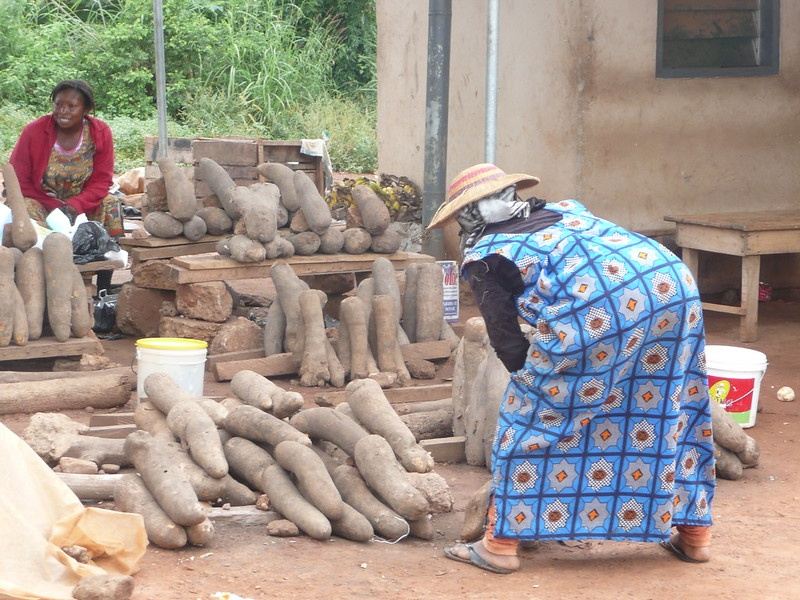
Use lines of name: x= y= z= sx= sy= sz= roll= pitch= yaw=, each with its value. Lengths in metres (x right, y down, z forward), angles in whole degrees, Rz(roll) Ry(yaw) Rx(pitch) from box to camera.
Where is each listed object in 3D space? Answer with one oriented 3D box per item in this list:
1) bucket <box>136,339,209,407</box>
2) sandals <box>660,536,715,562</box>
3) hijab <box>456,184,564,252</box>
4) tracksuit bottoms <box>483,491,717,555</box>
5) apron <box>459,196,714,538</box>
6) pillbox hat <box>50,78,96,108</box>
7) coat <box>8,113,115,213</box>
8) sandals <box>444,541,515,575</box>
bucket: x=-1.723 y=0.555 z=9.135 sx=0.627 sy=0.455 sz=0.534 roll=3 pitch=4 yaw=15
sandals: x=1.780 y=1.596 z=7.491 sx=0.138 sy=0.098 sz=0.314 roll=-5 pitch=15 yaw=-43
hijab: x=0.604 y=-0.495 z=7.345 sx=0.654 sy=0.275 sz=0.404 roll=-7 pitch=5 yaw=-13
tracksuit bottoms: x=1.188 y=1.375 z=7.302 sx=1.396 sy=0.302 sz=0.212 roll=-5 pitch=28 yaw=7
apron: x=1.161 y=0.521 z=7.262 sx=1.442 sy=2.040 sz=0.428 roll=-3 pitch=12 yaw=0
pillbox hat: x=-3.118 y=-1.961 z=11.364 sx=0.319 sy=0.290 sz=0.450 roll=1 pitch=9 yaw=19
coat: x=-3.193 y=-1.294 z=11.533 sx=1.199 sy=0.921 sz=0.658 roll=4 pitch=28 yaw=15
sandals: x=0.451 y=1.615 z=7.399 sx=0.437 sy=0.078 sz=0.169 roll=11 pitch=6 yaw=29
